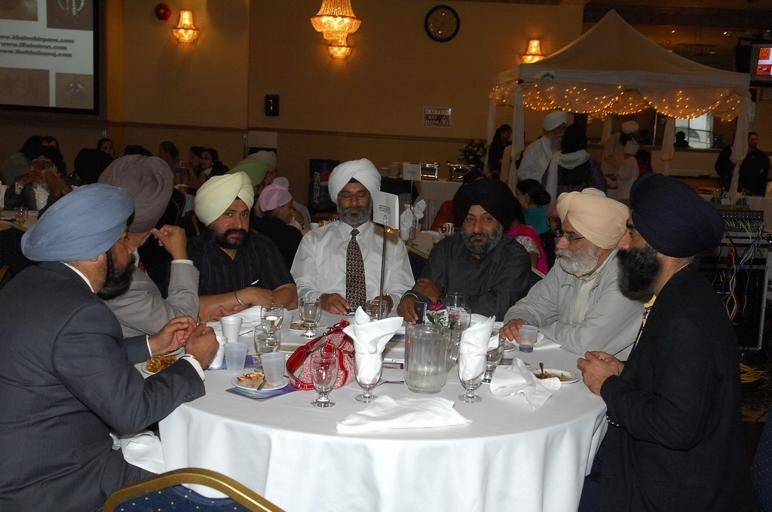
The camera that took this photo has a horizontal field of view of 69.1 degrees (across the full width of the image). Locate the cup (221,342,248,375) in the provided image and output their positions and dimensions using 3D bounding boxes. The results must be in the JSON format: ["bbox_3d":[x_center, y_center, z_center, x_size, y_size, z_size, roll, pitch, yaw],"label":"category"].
[{"bbox_3d":[-0.670,0.448,2.486,0.126,0.130,0.126,2,0,0],"label":"cup"}]

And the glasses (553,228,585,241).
[{"bbox_3d":[1.128,-0.135,3.438,0.173,0.055,0.166,15,5,-17],"label":"glasses"}]

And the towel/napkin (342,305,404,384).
[{"bbox_3d":[-0.066,0.363,2.385,0.302,0.302,0.247,2,8,-6],"label":"towel/napkin"}]

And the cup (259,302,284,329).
[{"bbox_3d":[-0.586,0.300,2.842,0.114,0.127,0.114,1,3,0],"label":"cup"}]

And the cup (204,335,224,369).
[{"bbox_3d":[-0.761,0.439,2.545,0.122,0.132,0.125,2,-1,0],"label":"cup"}]

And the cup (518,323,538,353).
[{"bbox_3d":[0.746,0.434,2.981,0.089,0.125,0.137,5,-1,17],"label":"cup"}]

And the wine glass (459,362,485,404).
[{"bbox_3d":[0.356,0.538,2.359,0.131,0.205,0.139,1,0,-4],"label":"wine glass"}]

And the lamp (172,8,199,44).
[{"bbox_3d":[-3.859,-4.371,10.767,0.546,0.702,0.563,-1,16,-8],"label":"lamp"}]

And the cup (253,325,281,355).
[{"bbox_3d":[-0.566,0.401,2.635,0.090,0.120,0.142,1,0,1],"label":"cup"}]

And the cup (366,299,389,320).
[{"bbox_3d":[-0.061,0.295,3.086,0.104,0.093,0.128,0,-5,0],"label":"cup"}]

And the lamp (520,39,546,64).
[{"bbox_3d":[2.906,-4.013,10.969,0.460,0.429,0.152,-2,12,-18],"label":"lamp"}]

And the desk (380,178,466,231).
[{"bbox_3d":[0.517,-0.895,8.195,1.036,0.700,0.851,1,4,-6],"label":"desk"}]

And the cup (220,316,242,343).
[{"bbox_3d":[-0.752,0.352,2.730,0.117,0.127,0.117,0,4,0],"label":"cup"}]

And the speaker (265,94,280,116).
[{"bbox_3d":[-2.248,-2.966,10.952,0.348,0.492,0.266,2,12,-1],"label":"speaker"}]

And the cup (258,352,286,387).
[{"bbox_3d":[-0.473,0.469,2.370,0.130,0.141,0.132,-2,-1,0],"label":"cup"}]
